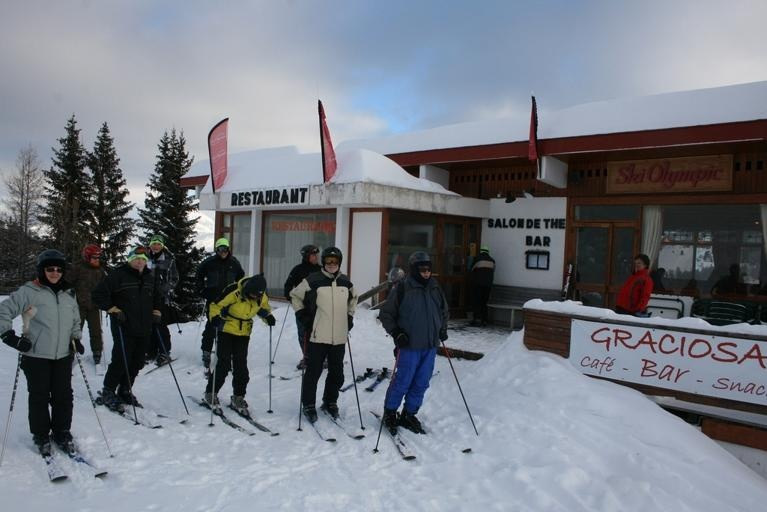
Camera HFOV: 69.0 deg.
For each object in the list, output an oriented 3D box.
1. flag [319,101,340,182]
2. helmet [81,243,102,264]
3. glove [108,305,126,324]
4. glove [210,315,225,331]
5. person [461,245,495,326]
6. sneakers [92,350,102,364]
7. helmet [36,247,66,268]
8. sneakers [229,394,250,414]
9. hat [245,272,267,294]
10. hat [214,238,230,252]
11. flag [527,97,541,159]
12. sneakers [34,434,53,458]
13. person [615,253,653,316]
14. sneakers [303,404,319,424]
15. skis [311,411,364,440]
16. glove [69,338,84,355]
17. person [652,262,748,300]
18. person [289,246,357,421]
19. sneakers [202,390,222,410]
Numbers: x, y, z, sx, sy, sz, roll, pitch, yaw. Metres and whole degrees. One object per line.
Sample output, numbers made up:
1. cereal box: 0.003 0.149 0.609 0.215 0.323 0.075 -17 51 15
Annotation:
1. flag: -1.285 -2.629 13.060 0.430 1.828 1.361 0 14 -5
2. helmet: -5.324 -0.047 10.222 0.363 0.407 0.300 3 7 15
3. glove: -3.975 0.874 8.302 0.227 0.239 0.144 -8 17 -33
4. glove: -2.502 1.041 8.454 0.162 0.279 0.214 1 14 -3
5. person: 2.398 0.776 13.760 0.547 1.876 0.786 4 14 10
6. sneakers: -5.235 1.861 10.198 0.138 0.216 0.072 3 -4 -22
7. helmet: -4.436 0.028 7.460 0.233 0.269 0.318 9 -28 -45
8. sneakers: -2.211 2.311 8.714 0.155 0.205 0.451 19 3 -45
9. hat: -1.990 0.412 8.648 0.304 0.284 0.243 5 3 41
10. hat: -2.947 -0.263 10.158 0.220 0.355 0.345 2 -5 -8
11. flag: 3.506 -2.937 12.932 0.291 1.428 0.791 5 14 13
12. sneakers: -4.410 2.487 7.245 0.178 0.318 0.287 4 -12 -36
13. person: 4.504 0.530 10.012 0.514 1.092 0.689 8 15 25
14. sneakers: -1.103 2.386 8.404 0.121 0.197 0.387 -1 -5 -15
15. skis: -0.763 2.553 8.322 0.273 0.150 0.943 -6 6 -26
16. glove: -4.099 1.204 7.458 0.189 0.216 0.074 -1 0 11
17. person: 7.265 0.440 12.954 1.589 1.049 0.930 0 2 25
18. person: -0.904 1.153 8.579 1.006 2.603 0.779 3 -7 -20
19. sneakers: -2.700 2.279 8.761 0.407 0.192 0.139 38 18 33
